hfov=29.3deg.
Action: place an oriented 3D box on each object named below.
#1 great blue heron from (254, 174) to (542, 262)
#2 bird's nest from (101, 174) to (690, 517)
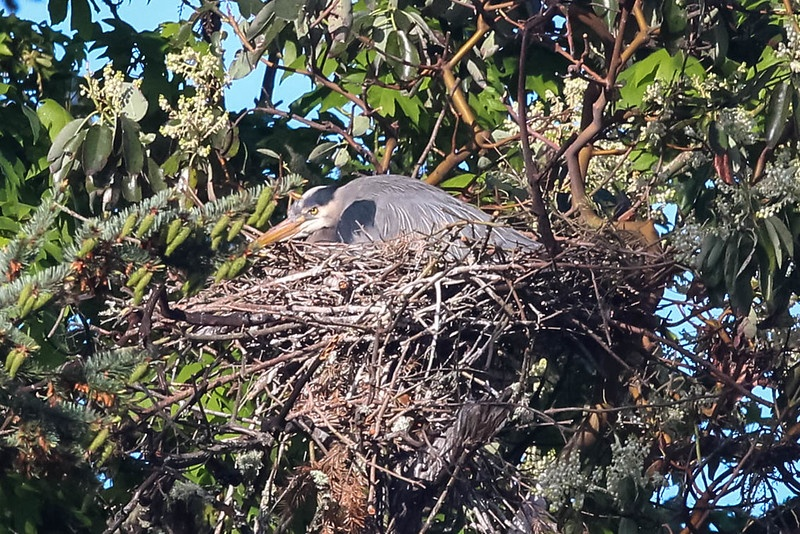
[{"bbox_3d":[0.077,-0.169,7.998,1.557,0.589,0.477,-2,0,-19],"label":"great blue heron"},{"bbox_3d":[-0.080,0.407,7.274,1.843,1.156,1.871,16,21,4],"label":"bird's nest"}]
